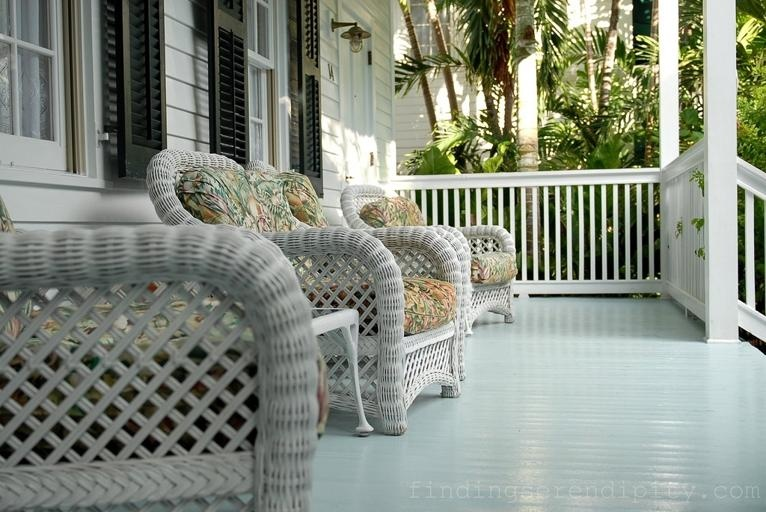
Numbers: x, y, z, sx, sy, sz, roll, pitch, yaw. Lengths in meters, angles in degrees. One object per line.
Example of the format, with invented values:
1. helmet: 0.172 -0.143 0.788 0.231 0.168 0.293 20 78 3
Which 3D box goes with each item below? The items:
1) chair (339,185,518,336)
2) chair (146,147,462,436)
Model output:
1. chair: 0.341 -0.013 5.206 1.228 1.115 1.031 2 4 31
2. chair: -0.406 0.169 3.467 1.508 1.370 1.115 1 1 21
